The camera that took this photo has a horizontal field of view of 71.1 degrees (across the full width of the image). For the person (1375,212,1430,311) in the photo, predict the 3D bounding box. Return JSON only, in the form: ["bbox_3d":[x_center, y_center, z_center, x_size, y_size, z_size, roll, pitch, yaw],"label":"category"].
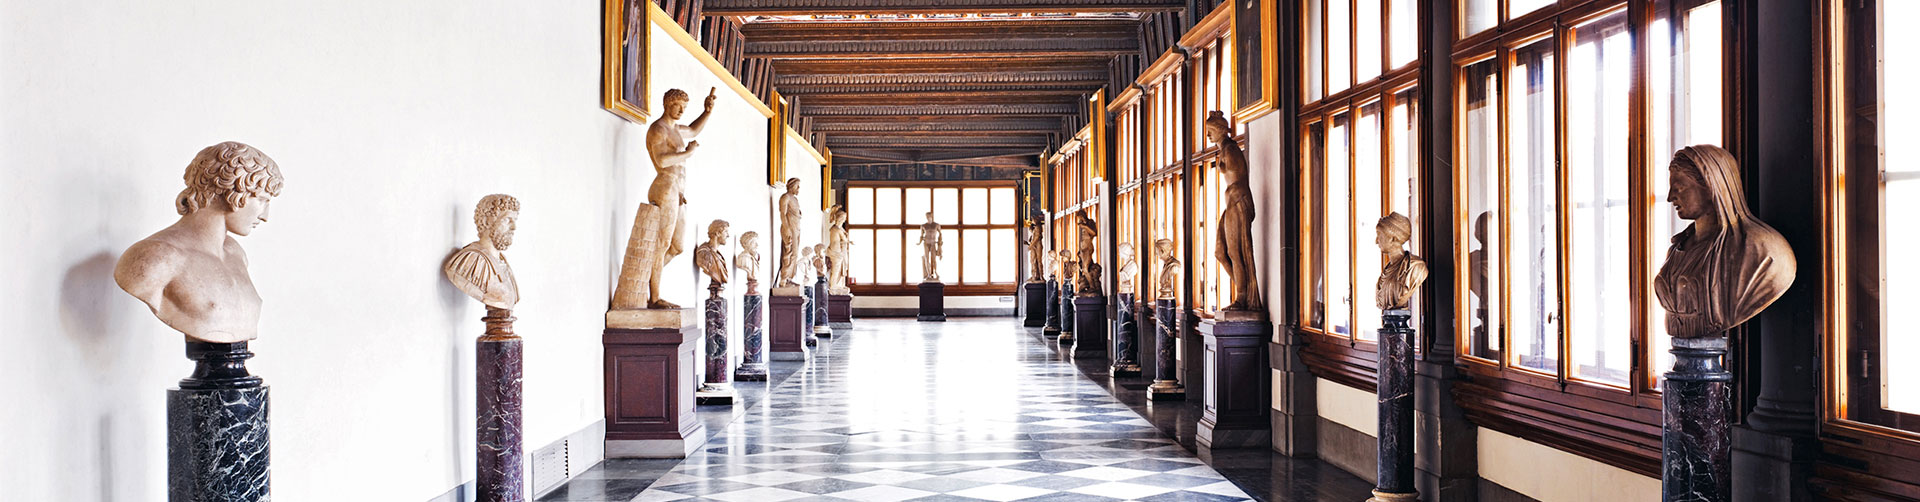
[{"bbox_3d":[6.987,0.170,21.473,0.833,1.543,0.474,-1,15,-1],"label":"person"}]

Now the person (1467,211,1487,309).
[{"bbox_3d":[8.175,0.102,21.289,0.309,1.434,0.368,2,15,10],"label":"person"}]
